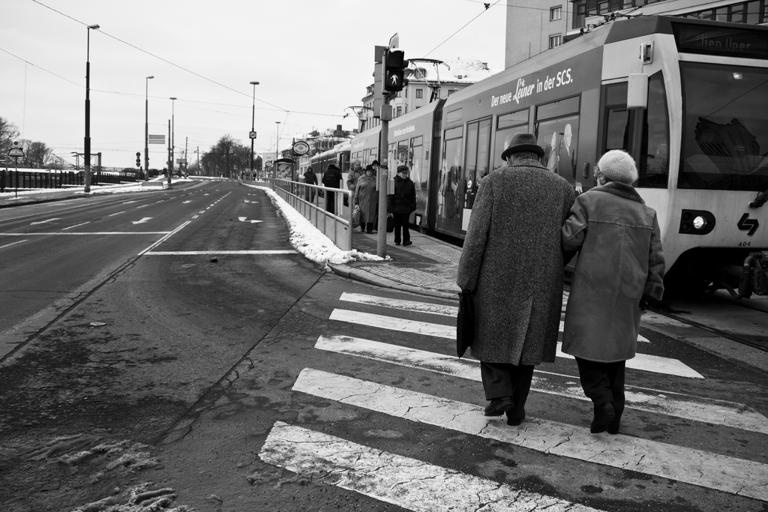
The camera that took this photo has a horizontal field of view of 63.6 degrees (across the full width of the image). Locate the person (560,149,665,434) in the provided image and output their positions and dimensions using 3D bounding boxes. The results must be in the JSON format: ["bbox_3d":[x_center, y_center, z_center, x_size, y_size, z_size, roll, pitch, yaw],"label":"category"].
[{"bbox_3d":[2.012,0.339,5.527,0.844,2.523,0.533,-3,10,-26],"label":"person"}]

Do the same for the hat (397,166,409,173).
[{"bbox_3d":[0.503,-2.373,16.808,0.399,0.174,0.468,-3,11,-6],"label":"hat"}]

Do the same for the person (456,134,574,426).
[{"bbox_3d":[1.159,-0.060,5.486,0.909,1.952,0.619,4,10,18],"label":"person"}]

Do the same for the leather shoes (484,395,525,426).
[{"bbox_3d":[1.100,1.391,5.656,0.199,0.208,0.449,0,7,-8],"label":"leather shoes"}]

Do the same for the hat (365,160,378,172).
[{"bbox_3d":[-0.366,-2.920,19.978,0.482,0.391,0.689,5,3,-13],"label":"hat"}]
